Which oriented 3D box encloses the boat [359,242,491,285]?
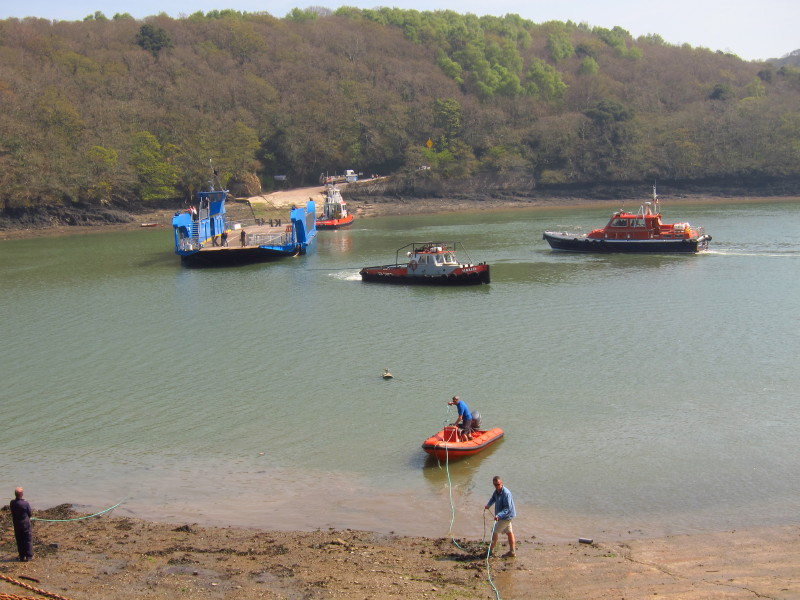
[{"bbox_3d":[3.033,-3.238,119.305,11.272,3.873,2.322,1,11,18],"label":"boat"}]

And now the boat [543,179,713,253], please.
[{"bbox_3d":[24.724,-6.337,135.642,19.664,7.204,6.655,-1,20,7],"label":"boat"}]

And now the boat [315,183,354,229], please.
[{"bbox_3d":[-8.187,-12.310,169.524,4.085,5.601,9.019,-3,9,1],"label":"boat"}]
